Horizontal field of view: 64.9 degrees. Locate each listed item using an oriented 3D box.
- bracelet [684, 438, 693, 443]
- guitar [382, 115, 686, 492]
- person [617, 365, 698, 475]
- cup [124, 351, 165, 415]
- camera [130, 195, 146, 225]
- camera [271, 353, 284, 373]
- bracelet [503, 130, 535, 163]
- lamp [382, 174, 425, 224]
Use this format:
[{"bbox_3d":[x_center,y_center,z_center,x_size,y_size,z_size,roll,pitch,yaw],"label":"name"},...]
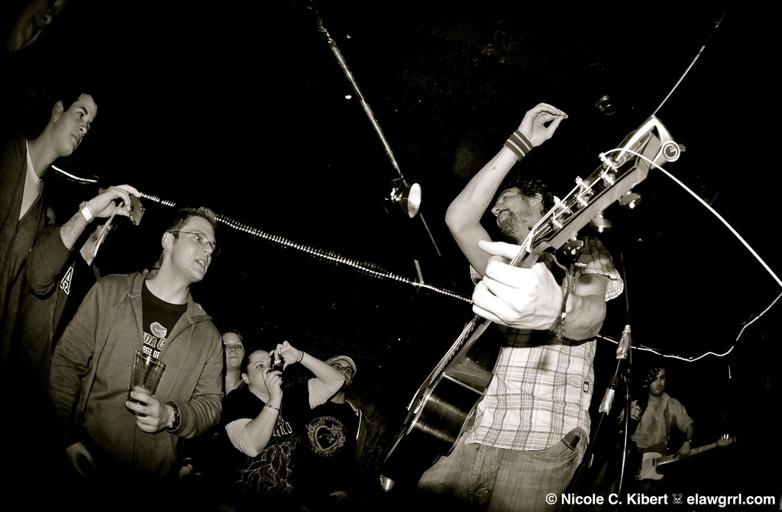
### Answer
[{"bbox_3d":[2.328,1.455,4.799,0.039,0.038,0.009,57,8,16],"label":"bracelet"},{"bbox_3d":[0.930,0.280,4.025,0.465,3.162,1.284,33,43,1],"label":"guitar"},{"bbox_3d":[2.133,1.381,4.915,0.486,1.079,0.137,3,0,22],"label":"person"},{"bbox_3d":[-1.588,0.777,3.994,0.199,0.211,0.158,15,17,-20],"label":"cup"},{"bbox_3d":[-1.705,-0.300,4.103,0.126,0.154,0.072,32,20,32],"label":"camera"},{"bbox_3d":[-0.809,0.754,4.359,0.085,0.140,0.048,-8,6,-15],"label":"camera"},{"bbox_3d":[0.790,-0.678,3.767,0.166,0.171,0.067,40,8,1],"label":"bracelet"},{"bbox_3d":[0.120,-0.406,4.652,0.274,0.254,0.300,10,-23,47],"label":"lamp"}]
